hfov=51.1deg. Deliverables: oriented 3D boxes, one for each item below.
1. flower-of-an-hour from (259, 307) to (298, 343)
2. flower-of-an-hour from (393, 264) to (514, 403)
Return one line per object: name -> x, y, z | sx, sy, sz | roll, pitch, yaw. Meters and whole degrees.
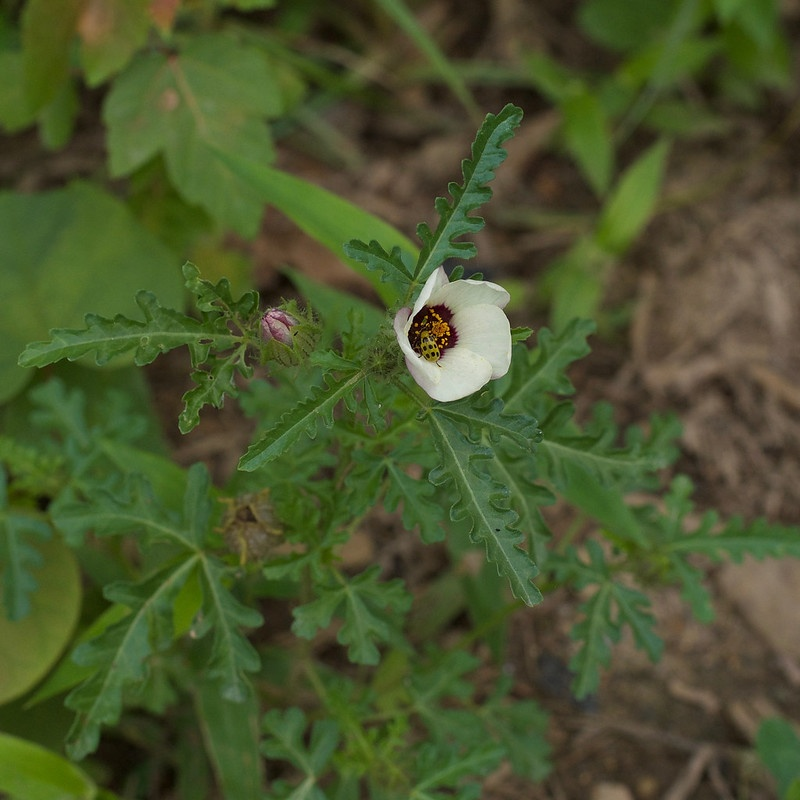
flower-of-an-hour -> -0.204, -0.126, 1.411 | 0.048, 0.051, 0.062 | -38, 108, -1
flower-of-an-hour -> 0.080, -0.101, 1.290 | 0.181, 0.139, 0.196 | 1, 79, 2
